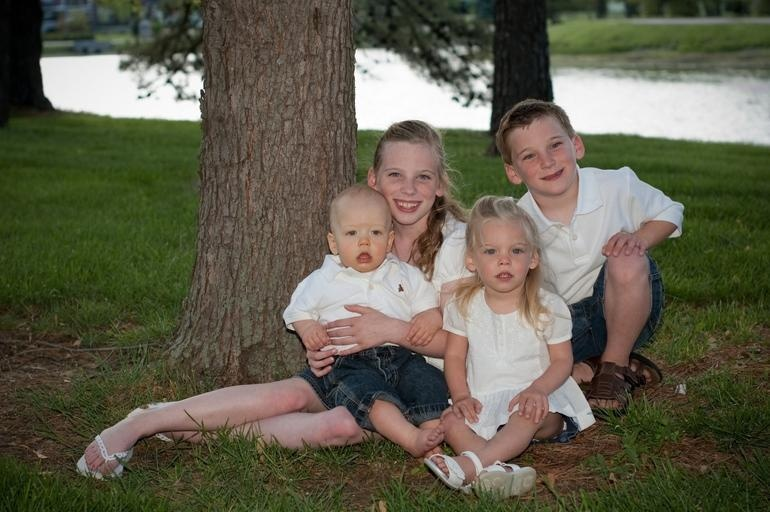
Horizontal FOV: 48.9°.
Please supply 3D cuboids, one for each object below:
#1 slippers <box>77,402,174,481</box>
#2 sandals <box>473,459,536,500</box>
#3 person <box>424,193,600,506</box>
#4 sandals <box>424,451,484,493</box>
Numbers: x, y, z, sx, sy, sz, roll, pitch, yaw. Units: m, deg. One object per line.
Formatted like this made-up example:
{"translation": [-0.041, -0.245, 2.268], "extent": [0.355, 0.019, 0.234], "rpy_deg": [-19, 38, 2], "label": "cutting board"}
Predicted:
{"translation": [-1.925, 1.306, 6.490], "extent": [0.339, 0.174, 0.946], "rpy_deg": [26, 45, 18], "label": "slippers"}
{"translation": [0.854, 1.582, 6.133], "extent": [0.445, 0.217, 0.190], "rpy_deg": [-4, 21, -7], "label": "sandals"}
{"translation": [0.852, 0.633, 6.412], "extent": [0.976, 1.981, 1.245], "rpy_deg": [3, 15, 23], "label": "person"}
{"translation": [0.490, 1.520, 6.084], "extent": [0.453, 0.194, 0.217], "rpy_deg": [24, 31, -41], "label": "sandals"}
